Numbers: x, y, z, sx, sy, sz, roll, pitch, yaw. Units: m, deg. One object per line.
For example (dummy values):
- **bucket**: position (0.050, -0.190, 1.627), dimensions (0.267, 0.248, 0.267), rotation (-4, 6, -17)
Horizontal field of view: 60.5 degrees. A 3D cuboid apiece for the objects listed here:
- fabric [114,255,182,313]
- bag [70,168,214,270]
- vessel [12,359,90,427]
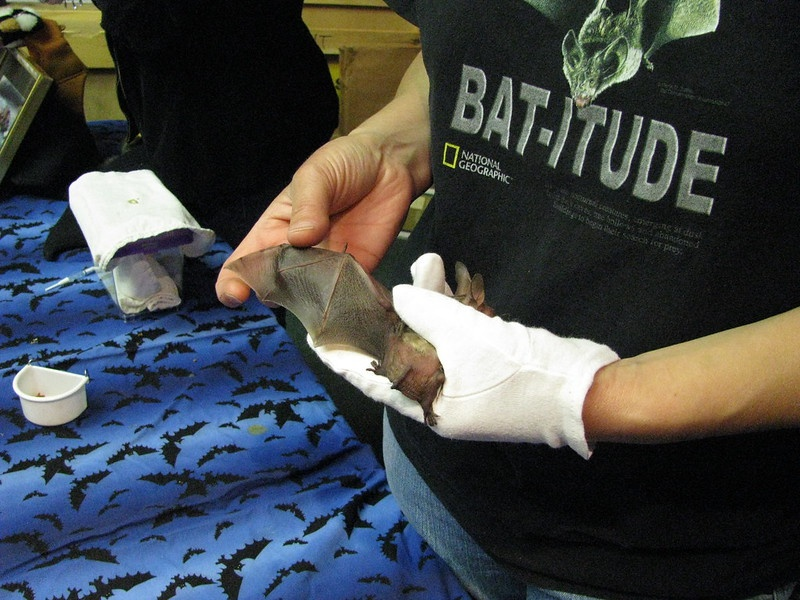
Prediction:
- **fabric**: position (-1.378, -0.119, 3.647), dimensions (0.265, 0.125, 0.357), rotation (-24, 64, -30)
- **bag**: position (-1.469, -0.466, 3.793), dimensions (0.708, 0.237, 0.602), rotation (32, 24, 29)
- **vessel**: position (-1.567, 0.433, 3.042), dimensions (0.308, 0.155, 0.207), rotation (13, 29, 9)
